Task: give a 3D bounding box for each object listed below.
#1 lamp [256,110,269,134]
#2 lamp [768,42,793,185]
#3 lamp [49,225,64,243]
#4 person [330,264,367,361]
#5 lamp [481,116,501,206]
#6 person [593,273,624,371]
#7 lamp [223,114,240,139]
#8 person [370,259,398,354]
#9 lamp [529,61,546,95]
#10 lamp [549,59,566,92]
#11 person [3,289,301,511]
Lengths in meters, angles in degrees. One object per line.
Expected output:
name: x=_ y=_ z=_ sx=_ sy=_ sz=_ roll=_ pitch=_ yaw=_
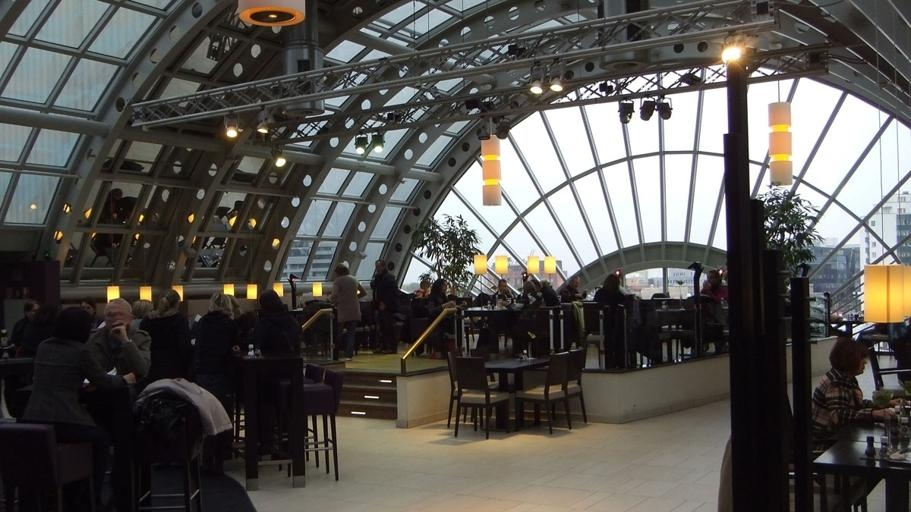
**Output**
lamp: x=-4.702 y=-3.329 z=15.774 sx=0.244 sy=0.489 sz=0.414 roll=-2 pitch=4 yaw=-19
lamp: x=7.167 y=-2.508 z=14.194 sx=0.458 sy=1.842 sz=0.534 roll=1 pitch=4 yaw=19
lamp: x=-11.170 y=-0.584 z=18.084 sx=0.374 sy=0.632 sz=0.412 roll=3 pitch=1 yaw=-41
person: x=-2.653 y=1.317 z=15.489 sx=0.627 sy=2.253 sz=1.200 roll=-1 pitch=4 yaw=-11
lamp: x=0.811 y=-1.943 z=14.393 sx=0.388 sy=1.578 sz=0.535 roll=-1 pitch=4 yaw=-2
person: x=3.315 y=1.355 z=13.729 sx=0.609 sy=1.865 sz=1.094 roll=1 pitch=4 yaw=14
lamp: x=-5.560 y=-3.231 z=15.933 sx=0.275 sy=0.468 sz=0.458 roll=-2 pitch=4 yaw=-27
person: x=-1.872 y=1.332 z=17.119 sx=0.686 sy=2.449 sz=1.179 roll=-1 pitch=4 yaw=-7
lamp: x=1.759 y=-3.847 z=13.931 sx=0.309 sy=0.560 sz=0.770 roll=0 pitch=4 yaw=6
lamp: x=2.219 y=-3.893 z=13.924 sx=0.419 sy=0.659 sz=0.403 roll=5 pitch=2 yaw=21
person: x=-4.649 y=1.955 z=8.547 sx=1.242 sy=2.682 sz=1.421 roll=0 pitch=4 yaw=4
